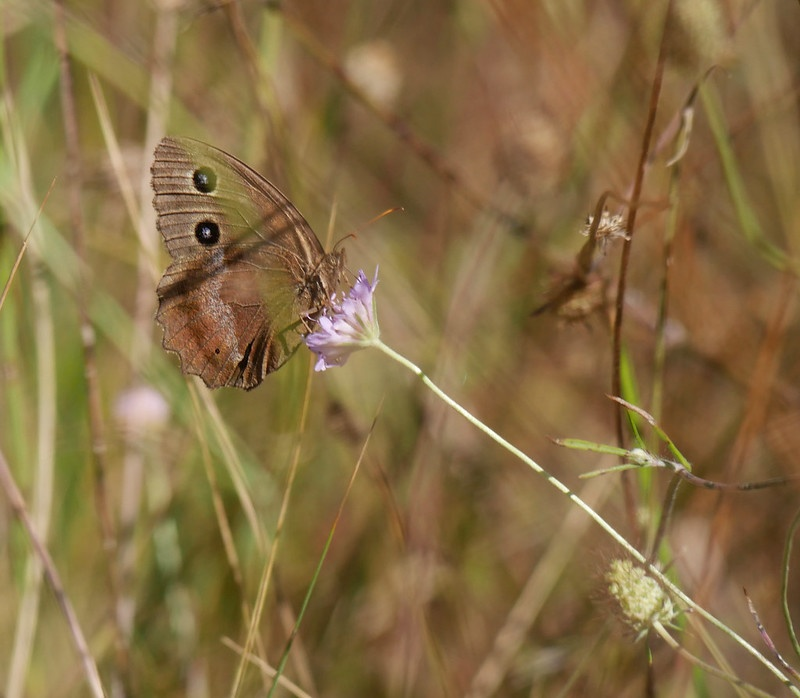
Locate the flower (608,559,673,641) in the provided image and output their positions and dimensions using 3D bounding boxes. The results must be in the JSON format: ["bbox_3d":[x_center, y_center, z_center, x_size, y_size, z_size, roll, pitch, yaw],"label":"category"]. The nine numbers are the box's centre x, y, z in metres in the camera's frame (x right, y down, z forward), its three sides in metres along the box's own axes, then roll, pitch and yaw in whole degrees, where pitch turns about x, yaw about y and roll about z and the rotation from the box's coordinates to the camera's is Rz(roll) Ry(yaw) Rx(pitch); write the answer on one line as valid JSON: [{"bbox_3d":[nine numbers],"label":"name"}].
[{"bbox_3d":[0.474,0.492,1.794,0.086,0.116,0.161,-32,33,-12],"label":"flower"}]

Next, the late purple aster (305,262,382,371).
[{"bbox_3d":[-0.106,-0.038,1.812,0.098,0.197,0.174,42,101,14],"label":"late purple aster"}]

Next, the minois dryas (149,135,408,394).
[{"bbox_3d":[-0.350,-0.209,1.945,0.434,0.518,0.187,-28,31,-4],"label":"minois dryas"}]
